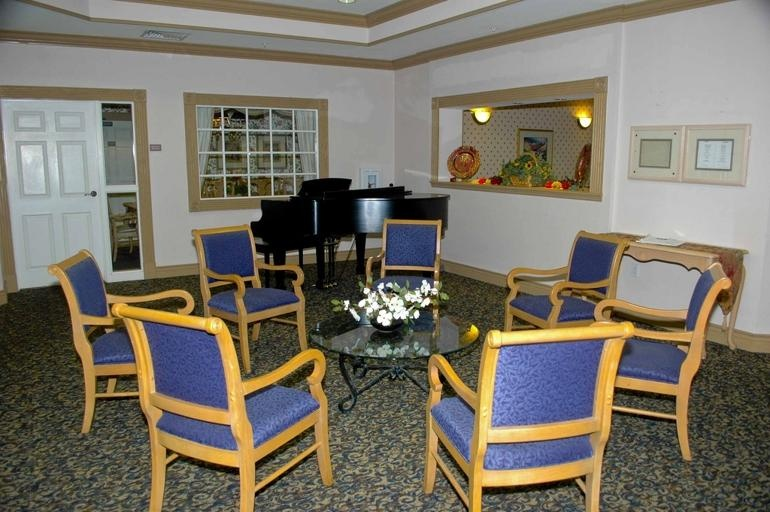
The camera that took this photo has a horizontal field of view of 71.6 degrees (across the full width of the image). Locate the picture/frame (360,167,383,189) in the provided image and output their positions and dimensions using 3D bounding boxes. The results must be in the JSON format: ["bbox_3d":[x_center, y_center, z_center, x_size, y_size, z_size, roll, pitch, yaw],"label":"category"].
[{"bbox_3d":[-0.240,-1.439,9.754,0.439,0.324,0.146,-8,15,-31],"label":"picture/frame"}]

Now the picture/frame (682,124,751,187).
[{"bbox_3d":[3.636,-1.104,5.808,0.052,0.722,0.660,-8,14,-41],"label":"picture/frame"}]

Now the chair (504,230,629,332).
[{"bbox_3d":[1.799,0.396,5.433,1.132,1.219,1.024,-10,14,-38],"label":"chair"}]

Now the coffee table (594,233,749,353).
[{"bbox_3d":[3.243,0.428,6.478,0.955,1.023,1.571,22,8,28],"label":"coffee table"}]

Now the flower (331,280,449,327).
[{"bbox_3d":[-0.007,0.457,4.742,1.055,0.392,0.561,-3,18,25],"label":"flower"}]

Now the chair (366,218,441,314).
[{"bbox_3d":[0.291,0.034,6.279,0.890,1.173,0.878,2,5,10],"label":"chair"}]

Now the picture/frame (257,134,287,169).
[{"bbox_3d":[-1.942,-1.802,9.259,0.605,0.578,0.605,-2,-8,5],"label":"picture/frame"}]

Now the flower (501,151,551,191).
[{"bbox_3d":[2.050,-1.225,7.828,0.614,0.499,0.625,4,5,41],"label":"flower"}]

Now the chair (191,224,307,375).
[{"bbox_3d":[-1.423,0.394,5.595,1.147,1.317,1.202,-2,12,-24],"label":"chair"}]

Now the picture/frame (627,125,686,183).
[{"bbox_3d":[3.174,-1.212,6.280,0.574,0.620,0.036,13,28,43],"label":"picture/frame"}]

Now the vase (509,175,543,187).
[{"bbox_3d":[2.046,-1.095,7.788,0.515,0.151,0.207,8,14,33],"label":"vase"}]
